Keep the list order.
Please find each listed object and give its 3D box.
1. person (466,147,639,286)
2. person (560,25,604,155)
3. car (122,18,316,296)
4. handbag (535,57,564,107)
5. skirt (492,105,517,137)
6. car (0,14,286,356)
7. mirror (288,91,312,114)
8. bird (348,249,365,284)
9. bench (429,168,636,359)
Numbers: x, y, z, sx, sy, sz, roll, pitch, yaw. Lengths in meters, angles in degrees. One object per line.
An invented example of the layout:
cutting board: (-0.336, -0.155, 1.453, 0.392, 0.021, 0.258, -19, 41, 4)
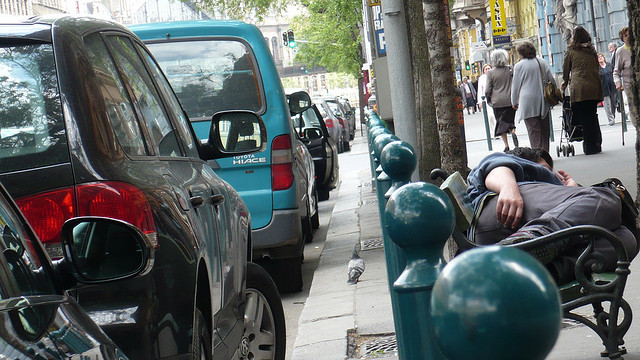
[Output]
person: (1.622, 0.234, 3.819, 0.774, 0.589, 1.286, -8, 9, 1)
person: (5.550, -1.920, 11.970, 0.872, 2.578, 0.902, -6, 1, -28)
car: (-1.115, -0.687, 8.488, 2.139, 1.985, 3.606, -1, 3, 6)
handbag: (4.461, -1.909, 10.831, 0.481, 0.989, 0.325, -13, 6, -6)
skirt: (4.450, -1.425, 13.449, 0.505, 0.667, 0.661, -11, 6, 17)
car: (-0.950, 0.006, 3.754, 1.380, 1.172, 2.385, -2, 1, 9)
mirror: (-0.302, -1.184, 8.515, 0.322, 0.258, 0.424, -13, 6, -2)
bird: (0.405, 1.042, 6.510, 0.176, 0.361, 0.519, -9, 0, 17)
bench: (1.491, 0.567, 3.681, 1.202, 1.130, 1.848, -1, 1, 2)
